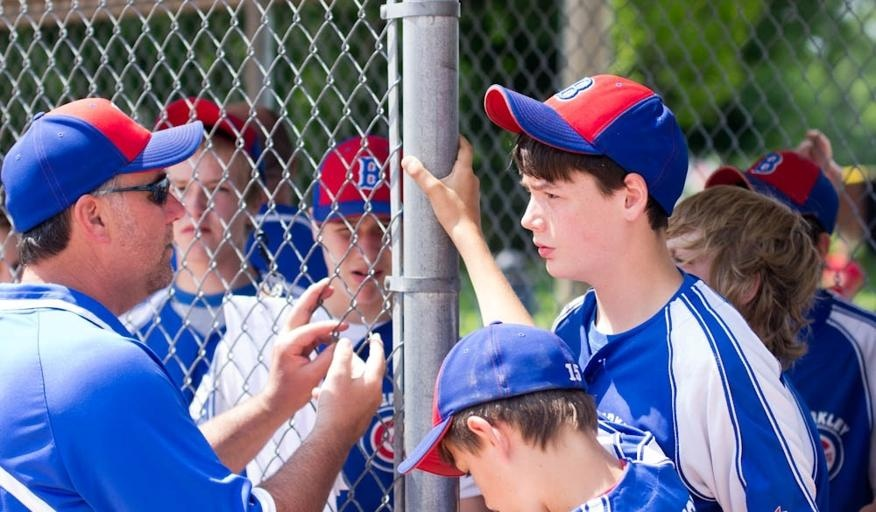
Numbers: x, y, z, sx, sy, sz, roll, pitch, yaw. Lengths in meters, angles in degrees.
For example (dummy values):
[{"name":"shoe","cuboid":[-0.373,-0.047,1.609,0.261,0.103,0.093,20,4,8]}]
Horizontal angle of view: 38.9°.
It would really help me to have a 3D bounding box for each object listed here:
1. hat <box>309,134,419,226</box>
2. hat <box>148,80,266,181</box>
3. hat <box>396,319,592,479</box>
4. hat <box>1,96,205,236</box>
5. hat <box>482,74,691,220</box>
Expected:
[{"name":"hat","cuboid":[-0.450,-0.573,7.244,0.490,0.447,0.777,-5,40,-22]},{"name":"hat","cuboid":[-1.369,-0.770,7.570,0.475,0.265,0.755,22,-17,31]},{"name":"hat","cuboid":[0.287,0.724,6.463,0.885,0.566,0.614,-25,-3,2]},{"name":"hat","cuboid":[-1.765,-0.507,6.520,0.896,0.472,0.603,-34,14,2]},{"name":"hat","cuboid":[0.768,-0.658,6.463,0.909,0.509,0.663,37,4,-13]}]
